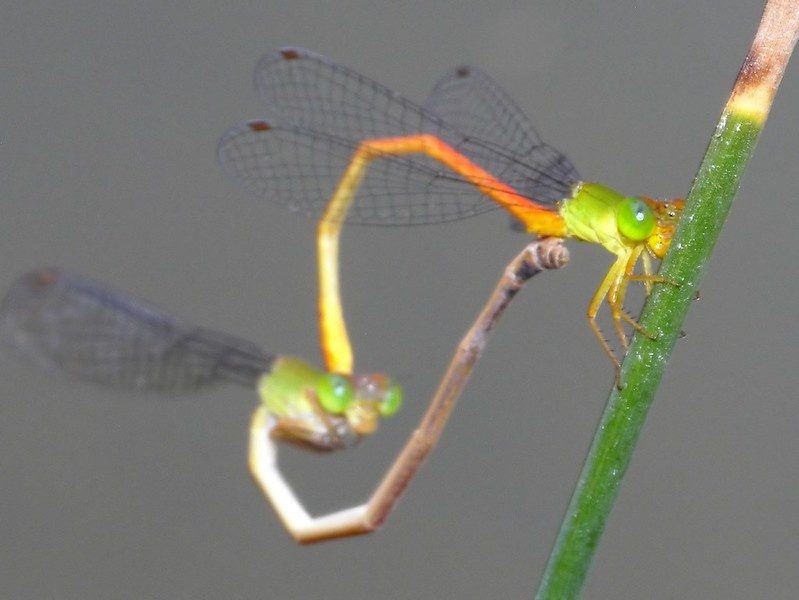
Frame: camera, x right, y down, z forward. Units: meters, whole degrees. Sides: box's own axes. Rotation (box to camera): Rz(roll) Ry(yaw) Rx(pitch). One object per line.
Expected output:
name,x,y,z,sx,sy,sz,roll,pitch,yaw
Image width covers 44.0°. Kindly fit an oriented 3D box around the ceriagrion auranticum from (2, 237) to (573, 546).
ceriagrion auranticum,-0.530,0.302,3.863,2.075,1.180,0.369,5,-19,8
